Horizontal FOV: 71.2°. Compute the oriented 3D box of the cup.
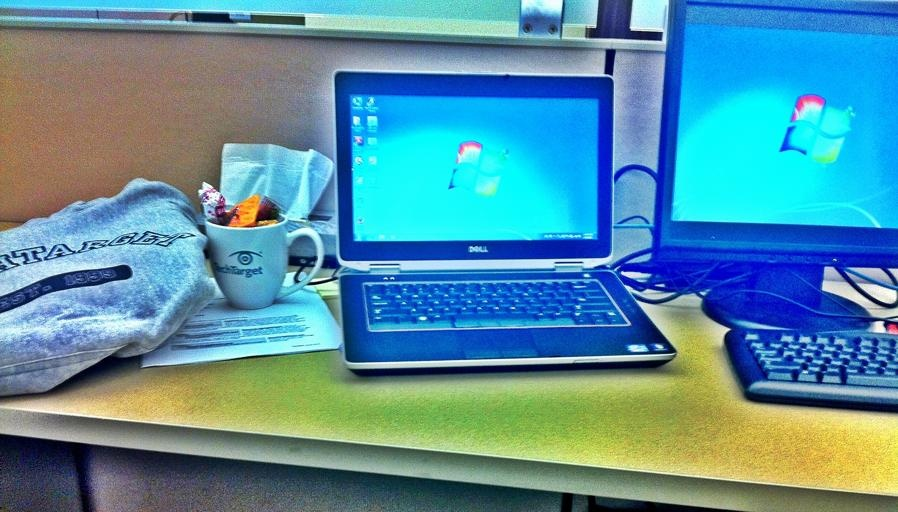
[{"bbox_3d":[-0.351,0.015,1.222,0.281,0.157,0.173,-5,13,-29],"label":"cup"}]
